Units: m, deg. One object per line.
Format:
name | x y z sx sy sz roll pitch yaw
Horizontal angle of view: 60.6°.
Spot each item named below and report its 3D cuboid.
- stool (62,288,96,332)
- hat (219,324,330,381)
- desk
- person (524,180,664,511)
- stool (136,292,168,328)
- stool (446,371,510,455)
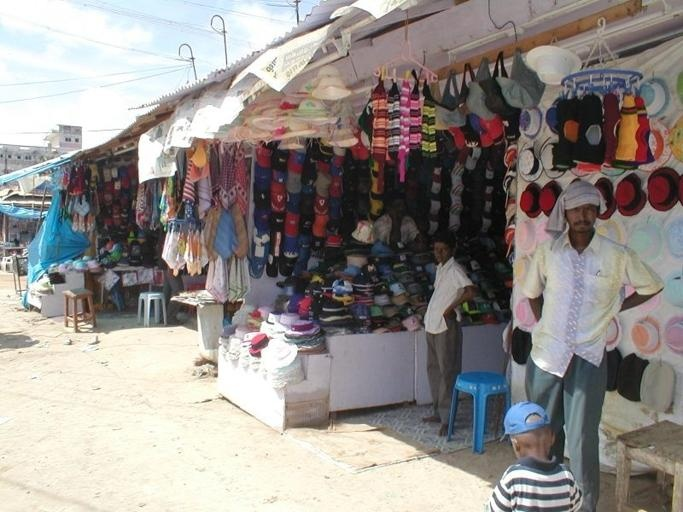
stool | -4.600 0.929 10.275 0.560 0.596 0.555 2 10 8
hat | -0.686 0.924 5.988 1.142 0.558 0.920 -2 11 -22
desk | -1.865 0.945 7.886 0.955 0.926 0.952 -5 13 -30
person | 1.462 0.584 3.933 0.883 2.078 0.904 9 8 25
stool | -3.337 0.904 10.490 0.412 0.475 0.421 -4 9 -12
stool | 1.185 1.362 5.283 0.581 0.641 0.453 -2 3 -40
